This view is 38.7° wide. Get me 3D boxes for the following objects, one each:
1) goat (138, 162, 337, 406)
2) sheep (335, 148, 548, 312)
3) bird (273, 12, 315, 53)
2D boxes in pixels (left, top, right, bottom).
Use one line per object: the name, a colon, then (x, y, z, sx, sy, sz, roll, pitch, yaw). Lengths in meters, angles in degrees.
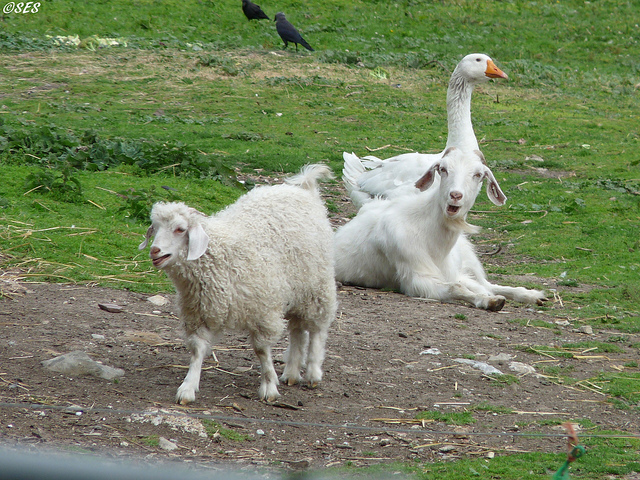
goat: (-0.644, 0.499, 8.780, 1.844, 1.961, 1.222, -6, 19, -44)
sheep: (1.486, -0.205, 11.437, 2.445, 1.916, 1.108, 15, 15, 41)
bird: (-0.738, -5.779, 25.571, 1.033, 1.050, 1.221, 5, 11, -5)
